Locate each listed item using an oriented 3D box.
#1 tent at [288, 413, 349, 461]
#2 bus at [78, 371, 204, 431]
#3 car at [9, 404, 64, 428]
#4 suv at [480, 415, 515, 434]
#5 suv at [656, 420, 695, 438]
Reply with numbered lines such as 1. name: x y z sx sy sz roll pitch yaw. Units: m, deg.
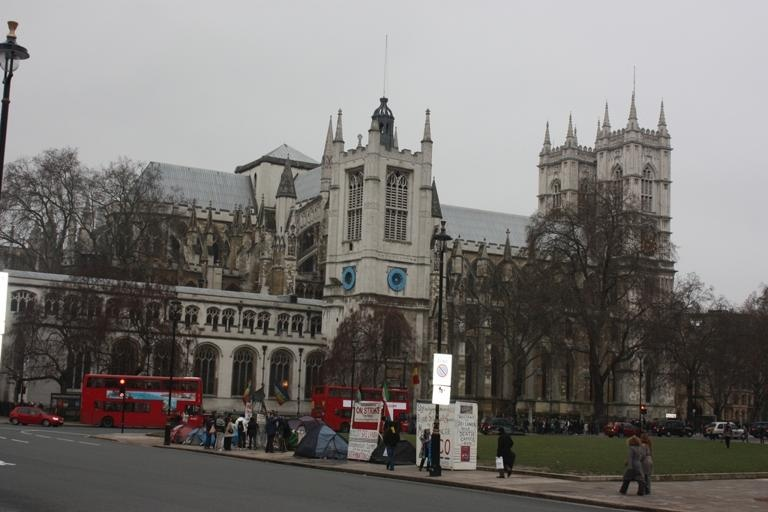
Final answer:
1. tent: -3.950 11.669 80.000 2.840 2.553 1.934 3 10 10
2. bus: -19.414 11.730 103.654 10.297 4.577 3.072 1 4 8
3. car: -27.492 12.520 98.266 4.259 1.549 1.525 -4 -15 26
4. suv: 10.022 15.055 110.985 2.791 1.890 4.173 2 -13 2
5. suv: 27.184 16.090 116.575 2.822 1.273 1.692 0 -4 -9
